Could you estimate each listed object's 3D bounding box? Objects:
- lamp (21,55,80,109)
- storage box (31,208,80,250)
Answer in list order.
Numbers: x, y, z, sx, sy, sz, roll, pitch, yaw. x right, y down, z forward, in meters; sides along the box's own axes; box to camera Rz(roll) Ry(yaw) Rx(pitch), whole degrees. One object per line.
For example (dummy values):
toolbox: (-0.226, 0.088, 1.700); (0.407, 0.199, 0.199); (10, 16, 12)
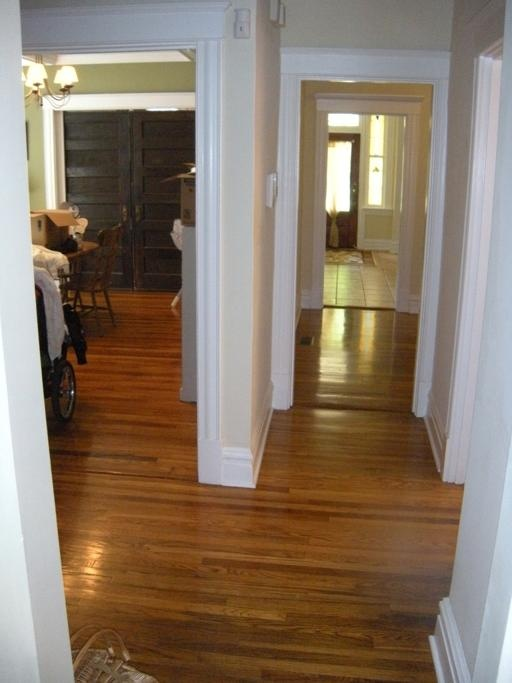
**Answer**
lamp: (-2.241, -2.722, 5.869); (0.441, 0.325, 0.450); (-15, 10, -40)
storage box: (-2.265, -1.201, 6.003); (0.339, 0.436, 0.742); (4, 13, 15)
